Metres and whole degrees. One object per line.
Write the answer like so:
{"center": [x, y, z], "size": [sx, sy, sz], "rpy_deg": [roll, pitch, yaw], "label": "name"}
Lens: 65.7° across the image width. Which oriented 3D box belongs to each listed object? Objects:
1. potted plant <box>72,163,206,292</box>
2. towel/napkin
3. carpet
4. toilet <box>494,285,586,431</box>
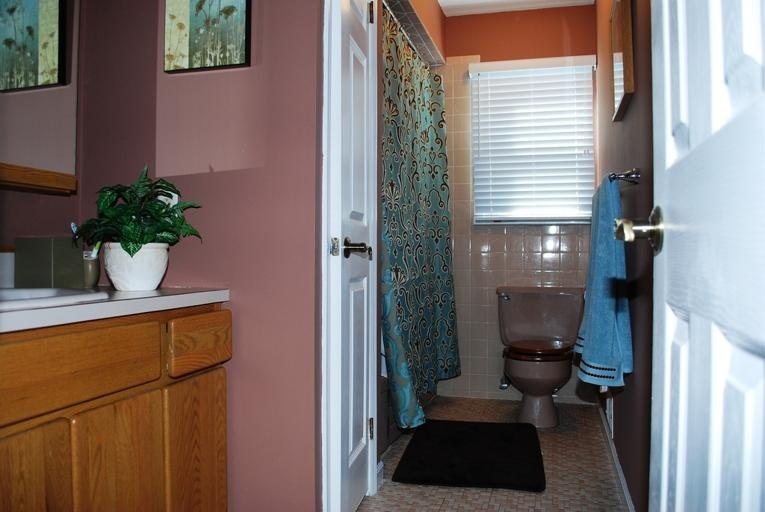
{"center": [-0.918, -0.068, 2.248], "size": [0.428, 0.464, 0.406], "rpy_deg": [-3, -4, 38], "label": "potted plant"}
{"center": [0.925, 0.119, 2.461], "size": [0.223, 0.908, 0.549], "rpy_deg": [1, 7, 18], "label": "towel/napkin"}
{"center": [0.451, 1.023, 3.085], "size": [0.732, 0.043, 0.713], "rpy_deg": [0, 8, 9], "label": "carpet"}
{"center": [0.994, 0.610, 3.740], "size": [0.541, 0.758, 0.614], "rpy_deg": [0, 7, 12], "label": "toilet"}
